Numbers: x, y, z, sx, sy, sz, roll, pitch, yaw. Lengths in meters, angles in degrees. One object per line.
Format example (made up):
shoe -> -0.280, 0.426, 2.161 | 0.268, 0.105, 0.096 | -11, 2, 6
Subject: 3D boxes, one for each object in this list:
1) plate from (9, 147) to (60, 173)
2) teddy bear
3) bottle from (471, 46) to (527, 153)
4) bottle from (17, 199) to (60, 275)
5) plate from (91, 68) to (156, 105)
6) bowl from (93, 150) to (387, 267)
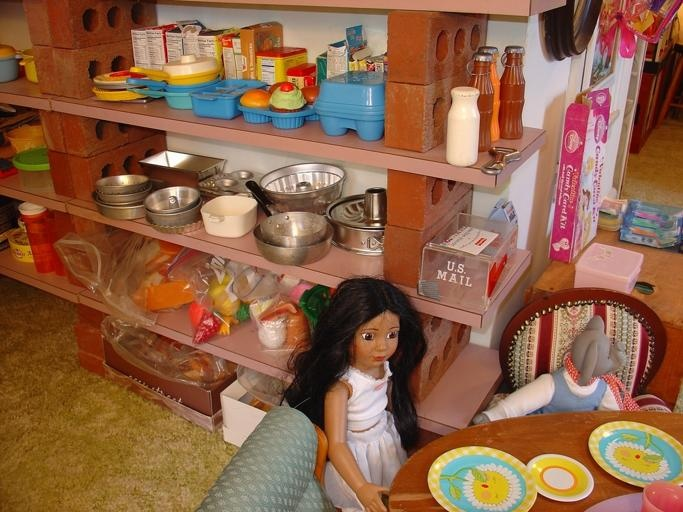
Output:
plate -> -1.486, -0.462, 2.440 | 0.199, 0.058, 0.187 | 0, 30, -7
teddy bear -> 0.716, 0.376, 1.650 | 0.437, 0.543, 0.191 | -11, 71, -6
bottle -> 0.463, -0.483, 1.496 | 0.185, 0.255, 0.247 | 8, 33, 11
bottle -> -1.515, -0.084, 2.555 | 0.143, 0.342, 0.133 | 1, 34, 0
plate -> -0.866, -0.654, 1.972 | 0.173, 0.058, 0.169 | 18, 38, 31
bowl -> -0.448, -0.312, 2.085 | 1.366, 0.250, 0.461 | 14, 32, 24
